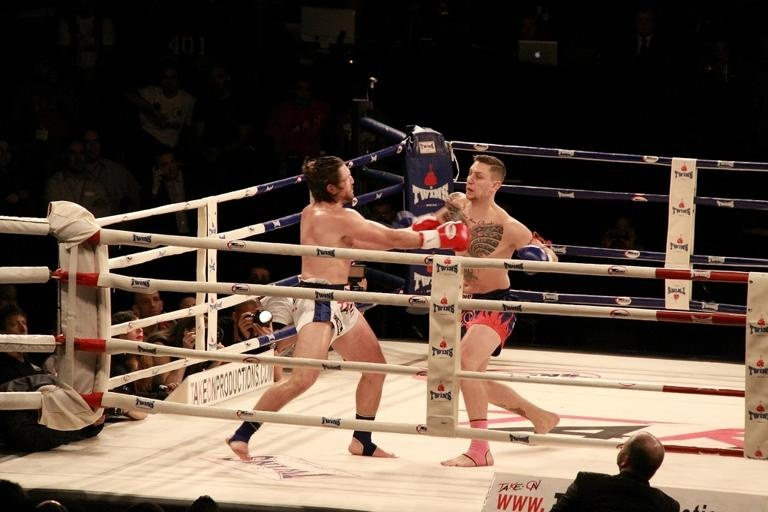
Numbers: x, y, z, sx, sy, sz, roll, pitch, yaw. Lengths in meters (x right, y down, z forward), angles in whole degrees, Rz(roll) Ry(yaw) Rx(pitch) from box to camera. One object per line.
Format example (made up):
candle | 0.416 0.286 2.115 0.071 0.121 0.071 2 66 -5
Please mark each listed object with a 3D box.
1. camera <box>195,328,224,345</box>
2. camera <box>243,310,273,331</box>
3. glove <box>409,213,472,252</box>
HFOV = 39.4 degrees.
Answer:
camera | -1.338 0.603 7.952 0.185 0.108 0.178 3 -3 -43
camera | -0.868 0.462 7.666 0.182 0.110 0.283 1 -6 -34
glove | 0.363 -0.129 7.043 0.375 0.217 0.329 0 13 -7
